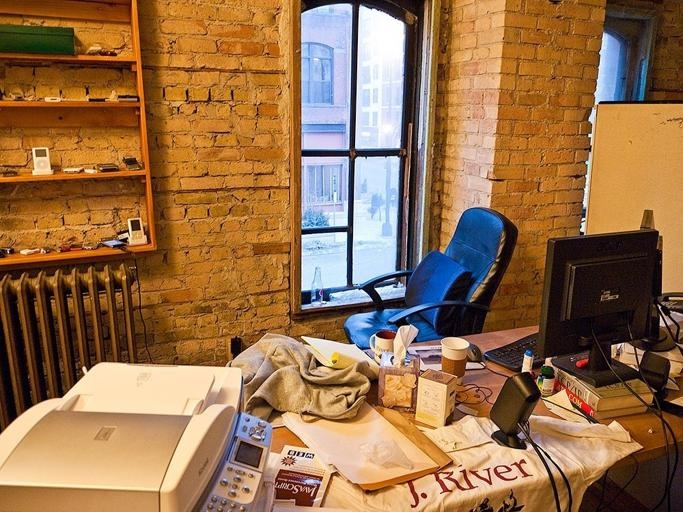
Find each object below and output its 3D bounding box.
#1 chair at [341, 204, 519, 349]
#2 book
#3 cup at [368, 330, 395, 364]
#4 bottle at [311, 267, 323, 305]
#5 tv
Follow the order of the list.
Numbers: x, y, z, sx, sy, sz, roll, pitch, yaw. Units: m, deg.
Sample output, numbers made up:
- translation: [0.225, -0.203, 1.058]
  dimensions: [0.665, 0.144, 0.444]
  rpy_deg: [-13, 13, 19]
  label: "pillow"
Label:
- translation: [0.464, 0.273, 3.192]
  dimensions: [0.946, 1.061, 0.775]
  rpy_deg: [-3, 15, -12]
  label: "chair"
- translation: [1.019, 0.502, 2.013]
  dimensions: [0.233, 0.052, 0.222]
  rpy_deg: [-6, 20, -19]
  label: "book"
- translation: [0.141, 0.368, 2.214]
  dimensions: [0.142, 0.122, 0.088]
  rpy_deg: [1, 5, 24]
  label: "cup"
- translation: [-0.169, 0.193, 3.664]
  dimensions: [0.053, 0.239, 0.102]
  rpy_deg: [7, 17, 36]
  label: "bottle"
- translation: [0.974, 0.212, 2.022]
  dimensions: [0.579, 0.595, 0.238]
  rpy_deg: [-8, 18, -24]
  label: "tv"
